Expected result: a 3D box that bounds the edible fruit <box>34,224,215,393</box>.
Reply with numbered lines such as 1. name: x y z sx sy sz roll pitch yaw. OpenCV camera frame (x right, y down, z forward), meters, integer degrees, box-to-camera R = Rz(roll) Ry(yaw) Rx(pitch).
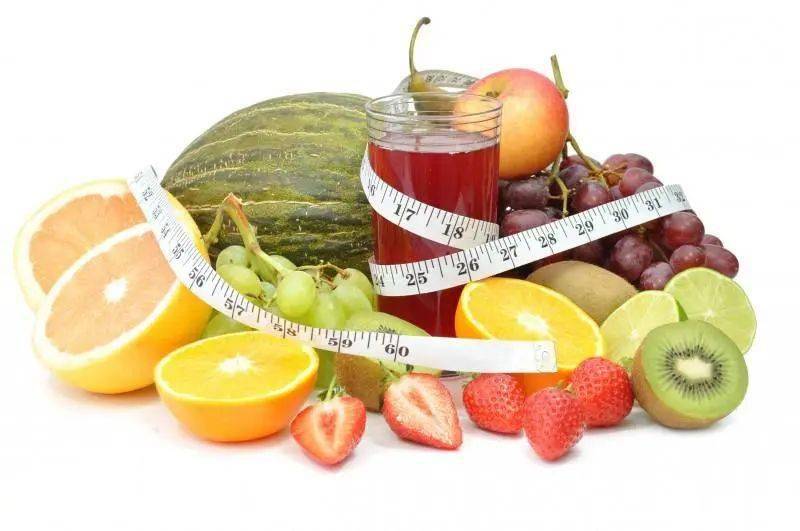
1. edible fruit: -1.564 0.256 4.016 0.798 0.716 0.722 -21 28 -36
